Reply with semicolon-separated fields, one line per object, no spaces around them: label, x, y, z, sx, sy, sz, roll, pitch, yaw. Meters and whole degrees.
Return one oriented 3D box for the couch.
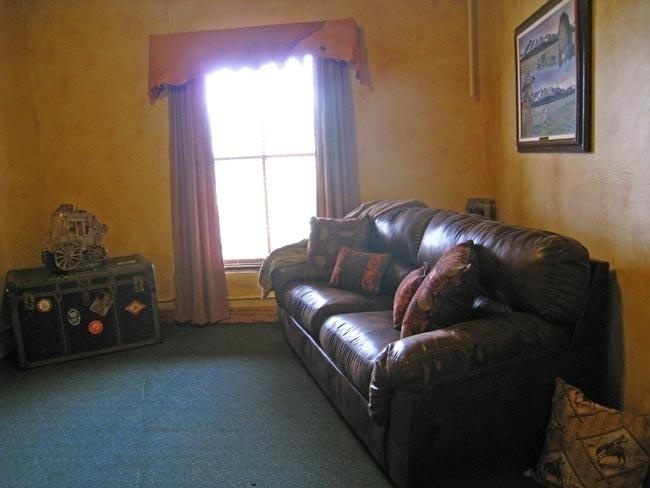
couch;0.586;0.497;3.304;1.255;1.286;1.744;-10;9;-25

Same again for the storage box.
storage box;-2.054;0.296;4.548;1.072;0.755;0.798;-8;16;-22

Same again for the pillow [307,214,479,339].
pillow;0.409;0.420;3.943;0.685;0.946;1.281;0;4;-23
